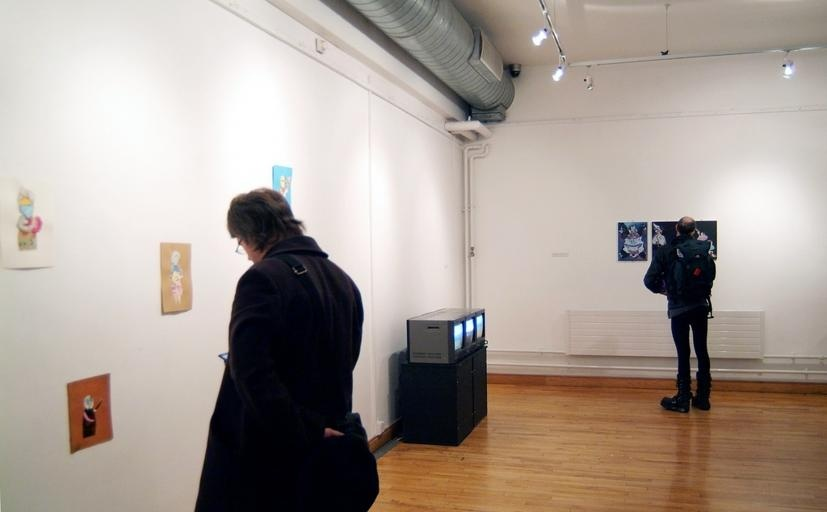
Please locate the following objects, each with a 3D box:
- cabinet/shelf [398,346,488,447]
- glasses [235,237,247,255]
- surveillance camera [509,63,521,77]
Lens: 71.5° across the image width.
[{"bbox_3d":[0.379,1.590,6.987,0.850,0.993,1.490,-3,0,14],"label":"cabinet/shelf"},{"bbox_3d":[-1.215,-0.076,4.017,0.036,0.115,0.116,-1,-4,-6],"label":"glasses"},{"bbox_3d":[1.599,-2.908,9.026,0.144,0.149,0.158,0,-26,1],"label":"surveillance camera"}]
